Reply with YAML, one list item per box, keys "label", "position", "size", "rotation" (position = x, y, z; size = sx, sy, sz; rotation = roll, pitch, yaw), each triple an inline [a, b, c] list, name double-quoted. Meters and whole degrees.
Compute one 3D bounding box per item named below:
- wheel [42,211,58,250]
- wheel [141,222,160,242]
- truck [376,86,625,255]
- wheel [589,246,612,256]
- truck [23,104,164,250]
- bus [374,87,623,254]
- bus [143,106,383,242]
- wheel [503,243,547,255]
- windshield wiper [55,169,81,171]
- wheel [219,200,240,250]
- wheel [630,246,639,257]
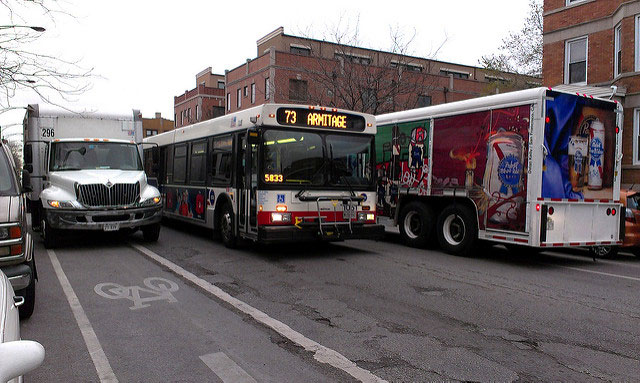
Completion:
- label: "wheel"
  position: [-7.983, 1.132, 12.383]
  size: [0.304, 1.101, 0.944]
  rotation: [-4, 8, -40]
- label: "wheel"
  position: [-5.357, 1.274, 13.232]
  size: [0.216, 0.660, 0.650]
  rotation: [-3, 7, -43]
- label: "truck"
  position: [4.987, -0.514, 15.163]
  size: [3.193, 4.374, 9.195]
  rotation: [2, 1, -24]
- label: "wheel"
  position: [8.622, 1.821, 12.895]
  size: [0.390, 0.396, 0.128]
  rotation: [-19, 37, 2]
- label: "truck"
  position: [-8.675, -0.729, 15.449]
  size: [3.806, 4.286, 8.394]
  rotation: [-3, 3, -38]
- label: "bus"
  position: [5.000, -0.464, 15.108]
  size: [3.115, 4.413, 9.055]
  rotation: [1, 2, -23]
- label: "bus"
  position: [-3.592, -0.671, 14.551]
  size: [11.774, 3.921, 3.343]
  rotation: [6, 8, 39]
- label: "wheel"
  position: [5.959, 1.686, 12.255]
  size: [0.653, 0.159, 0.657]
  rotation: [1, 0, 0]
- label: "windshield wiper"
  position: [-7.686, -0.628, 12.800]
  size: [0.591, 0.044, 0.078]
  rotation: [1, 6, -5]
- label: "wheel"
  position: [-2.694, 0.996, 12.487]
  size: [0.396, 1.246, 1.238]
  rotation: [2, -12, -24]
- label: "wheel"
  position: [10.000, 1.915, 13.378]
  size: [0.244, 0.376, 0.564]
  rotation: [6, 8, 37]
